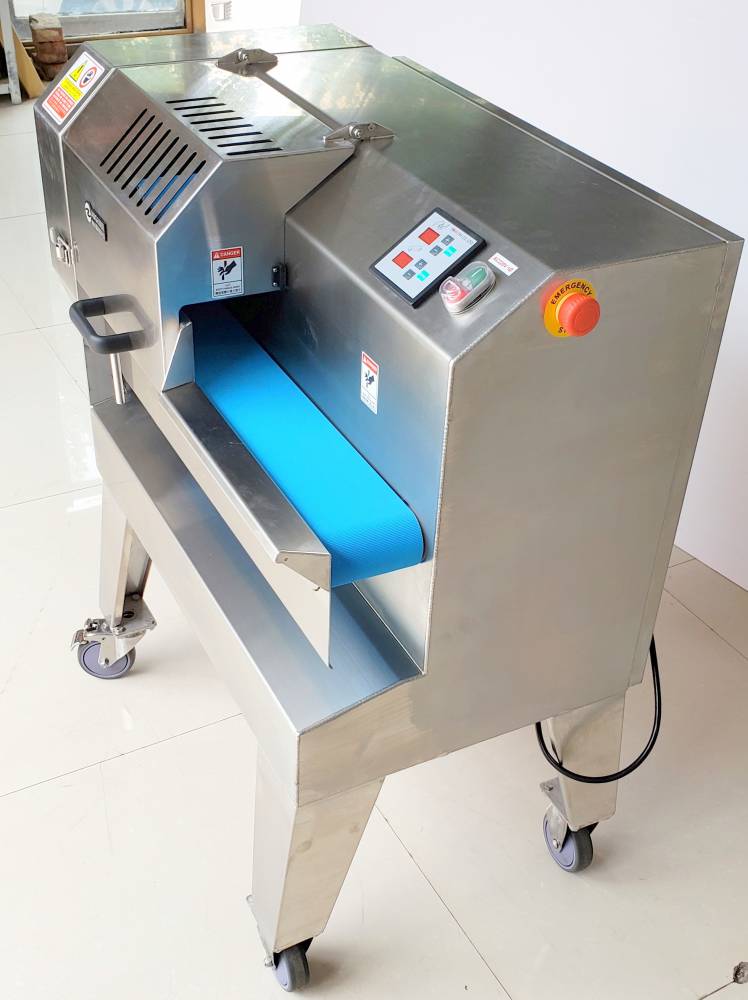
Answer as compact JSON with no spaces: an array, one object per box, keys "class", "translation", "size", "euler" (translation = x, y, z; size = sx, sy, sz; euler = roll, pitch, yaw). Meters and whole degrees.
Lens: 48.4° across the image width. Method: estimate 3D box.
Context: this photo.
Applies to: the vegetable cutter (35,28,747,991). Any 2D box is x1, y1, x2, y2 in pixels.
[{"class":"vegetable cutter","translation":[-0.050,0.017,1.022],"size":[0.483,0.961,0.701],"euler":[-17,38,-28]}]
